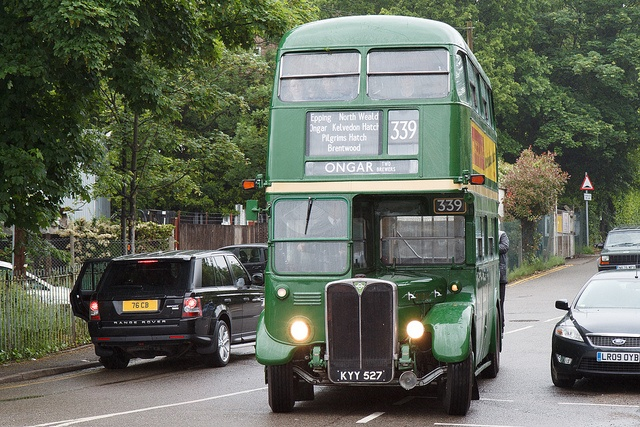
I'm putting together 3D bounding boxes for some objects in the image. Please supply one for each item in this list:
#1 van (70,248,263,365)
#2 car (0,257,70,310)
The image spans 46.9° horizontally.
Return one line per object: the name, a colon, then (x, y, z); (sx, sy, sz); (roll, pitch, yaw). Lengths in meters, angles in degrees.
van: (-2.986, 1.730, 17.122); (2.622, 1.565, 3.719); (-2, 0, 16)
car: (-7.133, 1.845, 18.171); (1.812, 0.677, 0.805); (2, 3, -14)
